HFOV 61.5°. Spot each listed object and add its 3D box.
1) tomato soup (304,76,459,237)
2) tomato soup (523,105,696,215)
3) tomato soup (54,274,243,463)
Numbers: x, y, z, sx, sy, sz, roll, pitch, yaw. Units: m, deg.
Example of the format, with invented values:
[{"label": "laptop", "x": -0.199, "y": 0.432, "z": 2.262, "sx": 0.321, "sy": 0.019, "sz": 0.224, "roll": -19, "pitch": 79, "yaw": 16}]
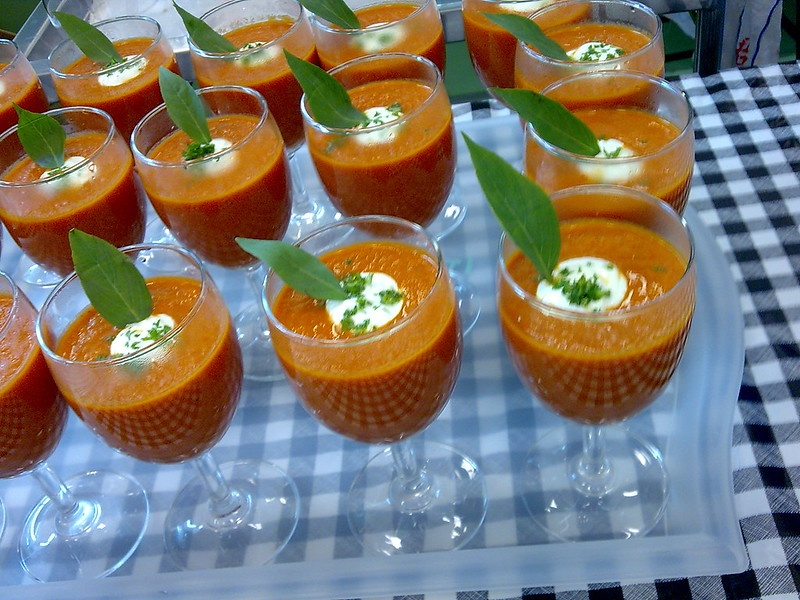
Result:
[{"label": "tomato soup", "x": -0.028, "y": -0.256, "z": 1.333, "sx": 0.259, "sy": 0.263, "sz": 0.273, "roll": 3, "pitch": 49, "yaw": 16}, {"label": "tomato soup", "x": 0.336, "y": -0.242, "z": 1.091, "sx": 0.204, "sy": 0.161, "sz": 0.216, "roll": -19, "pitch": 40, "yaw": -5}, {"label": "tomato soup", "x": -0.355, "y": 0.132, "z": 1.025, "sx": 0.268, "sy": 0.226, "sz": 0.144, "roll": -30, "pitch": 52, "yaw": -14}]
